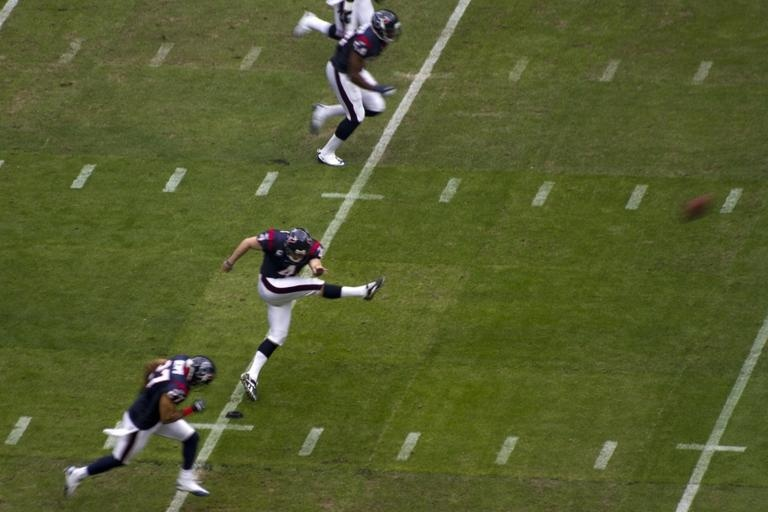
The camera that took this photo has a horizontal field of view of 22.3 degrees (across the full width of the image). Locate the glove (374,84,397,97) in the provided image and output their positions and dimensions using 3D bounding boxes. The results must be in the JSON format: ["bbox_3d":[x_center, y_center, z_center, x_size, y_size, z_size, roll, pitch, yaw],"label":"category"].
[{"bbox_3d":[-0.055,-2.484,28.921,0.400,0.123,0.145,9,72,29],"label":"glove"}]

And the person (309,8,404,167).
[{"bbox_3d":[-0.432,-2.498,29.626,1.475,2.481,1.022,14,52,-8],"label":"person"}]

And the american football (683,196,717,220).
[{"bbox_3d":[4.637,-0.724,28.705,0.449,0.166,0.298,-30,60,-9],"label":"american football"}]

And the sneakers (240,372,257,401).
[{"bbox_3d":[-1.892,1.821,27.054,0.238,0.174,0.394,-15,91,-4],"label":"sneakers"}]

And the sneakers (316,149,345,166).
[{"bbox_3d":[-0.848,-1.483,29.463,0.436,0.169,0.204,13,55,5],"label":"sneakers"}]

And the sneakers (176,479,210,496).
[{"bbox_3d":[-2.582,3.105,26.199,0.564,0.171,0.198,14,104,-7],"label":"sneakers"}]

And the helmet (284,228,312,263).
[{"bbox_3d":[-1.232,-0.143,26.663,0.380,0.331,0.382,6,60,-24],"label":"helmet"}]

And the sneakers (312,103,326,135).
[{"bbox_3d":[-1.016,-2.096,29.613,0.258,0.192,0.471,13,92,8],"label":"sneakers"}]

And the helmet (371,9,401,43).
[{"bbox_3d":[0.028,-3.442,28.614,0.520,0.342,0.357,14,27,7],"label":"helmet"}]

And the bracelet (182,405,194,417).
[{"bbox_3d":[-2.622,2.051,25.809,0.177,0.085,0.096,-28,72,11],"label":"bracelet"}]

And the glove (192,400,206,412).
[{"bbox_3d":[-2.500,1.998,25.936,0.181,0.212,0.122,-14,93,-20],"label":"glove"}]

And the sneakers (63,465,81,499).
[{"bbox_3d":[-4.200,3.018,26.110,0.246,0.172,0.443,10,108,-14],"label":"sneakers"}]

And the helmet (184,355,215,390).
[{"bbox_3d":[-2.487,1.535,25.974,0.531,0.404,0.381,7,97,25],"label":"helmet"}]

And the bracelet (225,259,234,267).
[{"bbox_3d":[-2.181,0.100,26.983,0.120,0.060,0.085,12,55,42],"label":"bracelet"}]
